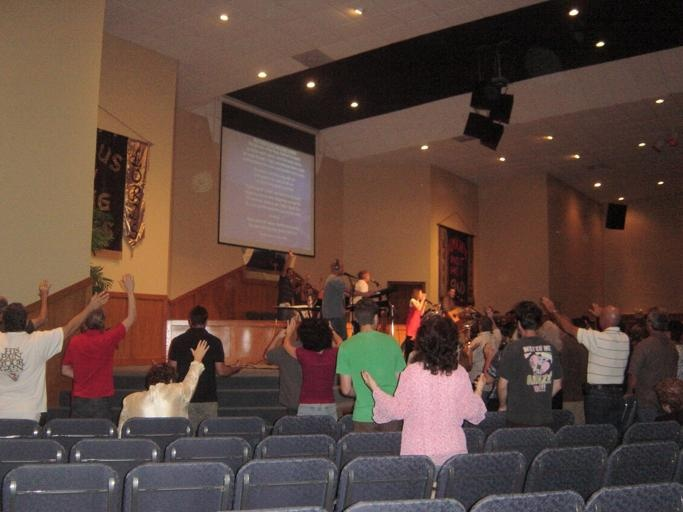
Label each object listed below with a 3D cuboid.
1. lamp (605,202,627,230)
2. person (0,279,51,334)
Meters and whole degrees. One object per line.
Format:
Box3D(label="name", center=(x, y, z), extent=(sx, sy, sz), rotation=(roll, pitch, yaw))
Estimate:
Box3D(label="lamp", center=(7.783, -1.157, 16.485), extent=(0.475, 0.806, 0.585), rotation=(8, -10, -42))
Box3D(label="person", center=(-2.958, 0.471, 5.433), extent=(0.214, 0.763, 0.406), rotation=(-24, -18, 35))
